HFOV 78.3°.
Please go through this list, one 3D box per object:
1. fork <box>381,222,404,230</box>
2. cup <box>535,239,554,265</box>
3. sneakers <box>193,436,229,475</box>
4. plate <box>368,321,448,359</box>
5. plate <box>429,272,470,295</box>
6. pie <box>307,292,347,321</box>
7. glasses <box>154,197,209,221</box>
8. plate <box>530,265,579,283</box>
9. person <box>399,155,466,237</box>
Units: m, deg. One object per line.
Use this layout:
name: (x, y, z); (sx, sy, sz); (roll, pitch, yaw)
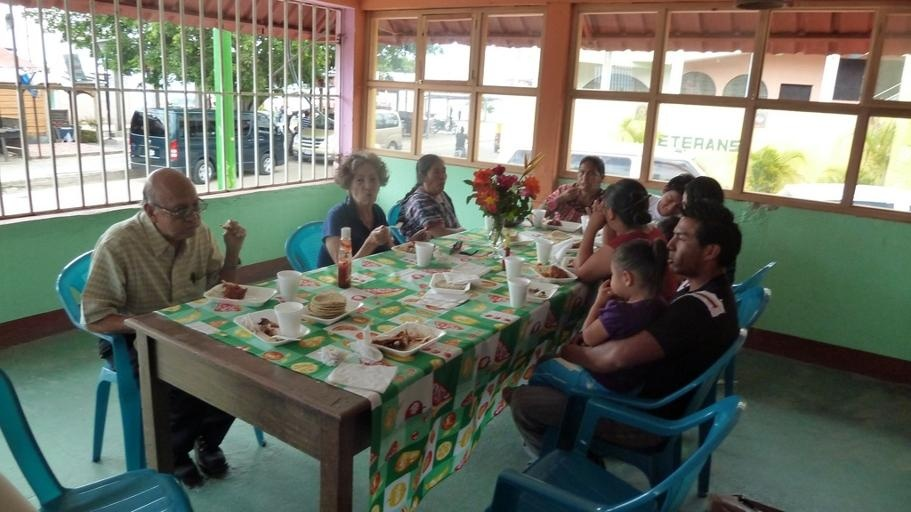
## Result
fork: (-0.452, -0.219, 4.132); (0.054, 0.062, 0.267); (-6, 6, -42)
cup: (0.622, -0.028, 4.052); (0.175, 0.160, 0.167); (1, 12, 0)
sneakers: (-1.561, 1.295, 3.637); (0.349, 0.141, 0.122); (11, 18, 40)
plate: (-0.262, 0.423, 2.996); (0.191, 0.042, 0.270); (19, 26, 35)
plate: (-0.035, 0.173, 3.520); (0.167, 0.033, 0.150); (3, 25, 6)
pie: (-0.731, 0.271, 3.183); (0.173, 0.058, 0.163); (-2, 16, -8)
glasses: (-1.622, -0.298, 3.451); (0.206, 0.113, 0.330); (9, 17, 26)
plate: (0.642, 0.128, 3.702); (0.172, 0.031, 0.155); (8, 21, 16)
person: (-0.175, -0.527, 5.038); (0.566, 0.668, 0.859); (8, 22, 19)
